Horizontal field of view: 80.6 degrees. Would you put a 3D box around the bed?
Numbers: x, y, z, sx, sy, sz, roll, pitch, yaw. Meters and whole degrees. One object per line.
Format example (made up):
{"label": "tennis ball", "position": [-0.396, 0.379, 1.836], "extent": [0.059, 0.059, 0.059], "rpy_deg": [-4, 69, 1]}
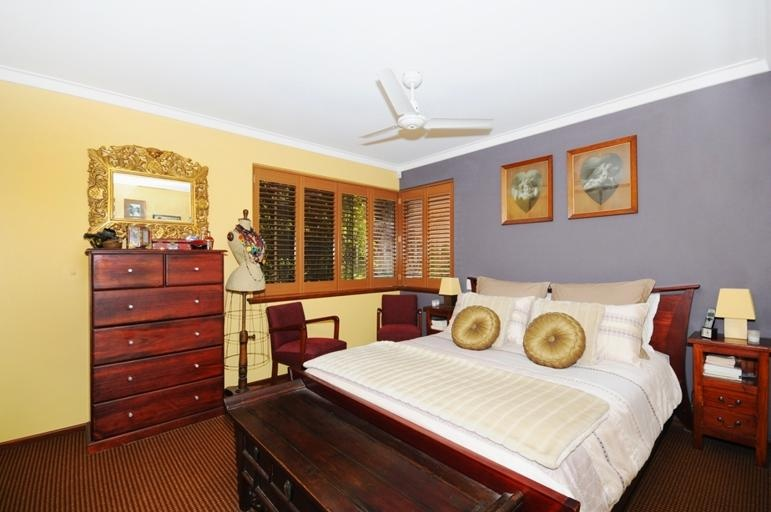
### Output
{"label": "bed", "position": [1.464, 1.266, 4.320], "extent": [2.489, 1.045, 2.530], "rpy_deg": [6, -7, -45]}

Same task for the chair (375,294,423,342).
{"label": "chair", "position": [0.186, 0.913, 6.805], "extent": [0.662, 0.853, 0.673], "rpy_deg": [-1, -10, 4]}

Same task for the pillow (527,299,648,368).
{"label": "pillow", "position": [2.178, 0.775, 4.746], "extent": [0.866, 0.706, 0.266], "rpy_deg": [-3, -31, 33]}

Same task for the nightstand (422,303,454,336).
{"label": "nightstand", "position": [0.762, 0.874, 6.517], "extent": [0.476, 0.520, 0.464], "rpy_deg": [-1, 1, -43]}

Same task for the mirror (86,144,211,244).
{"label": "mirror", "position": [-2.723, -0.724, 5.361], "extent": [1.314, 1.087, 0.035], "rpy_deg": [5, 13, -10]}

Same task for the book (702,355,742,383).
{"label": "book", "position": [3.379, 1.149, 4.591], "extent": [0.305, 0.100, 0.310], "rpy_deg": [3, 4, 32]}

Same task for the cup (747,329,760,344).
{"label": "cup", "position": [3.608, 0.799, 4.534], "extent": [0.123, 0.134, 0.125], "rpy_deg": [3, -6, 0]}

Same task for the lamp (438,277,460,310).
{"label": "lamp", "position": [0.902, 0.510, 6.471], "extent": [0.394, 0.518, 0.391], "rpy_deg": [-1, -1, 16]}

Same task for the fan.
{"label": "fan", "position": [0.412, -1.507, 4.683], "extent": [0.985, 0.457, 1.029], "rpy_deg": [1, -9, -17]}

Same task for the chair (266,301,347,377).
{"label": "chair", "position": [-1.021, 1.169, 5.995], "extent": [0.944, 0.961, 0.974], "rpy_deg": [-2, 6, -38]}
